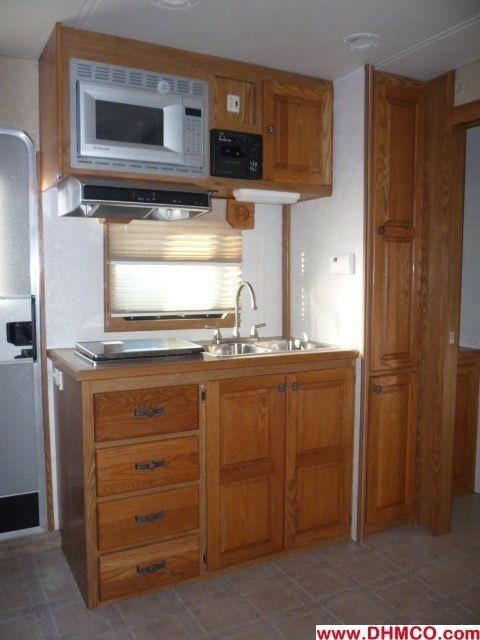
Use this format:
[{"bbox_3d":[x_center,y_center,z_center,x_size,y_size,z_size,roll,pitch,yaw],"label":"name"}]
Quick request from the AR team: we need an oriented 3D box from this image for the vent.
[{"bbox_3d":[-0.466,-0.522,2.323,0.605,0.142,0.642,-1,3,-21],"label":"vent"}]
